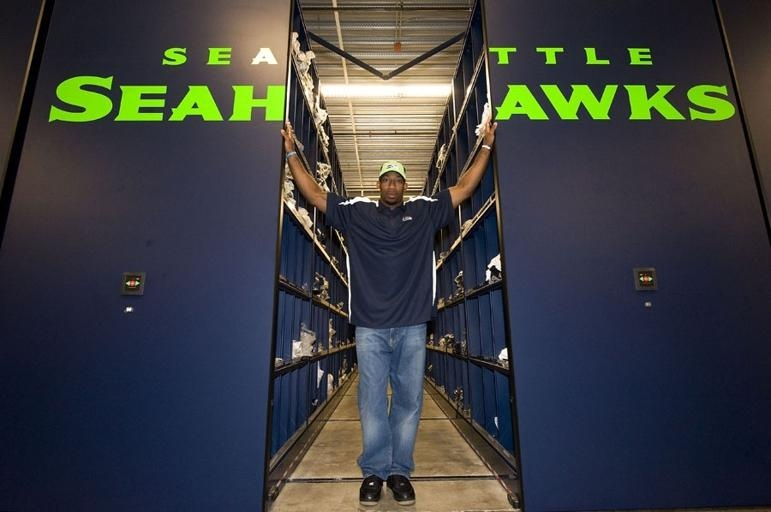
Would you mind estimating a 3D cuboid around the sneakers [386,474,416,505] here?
[{"bbox_3d":[0.116,1.825,3.792,0.212,0.191,0.135,-2,-4,3],"label":"sneakers"}]

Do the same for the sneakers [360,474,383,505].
[{"bbox_3d":[-0.109,1.825,3.793,0.189,0.197,0.148,-1,-4,-11],"label":"sneakers"}]
